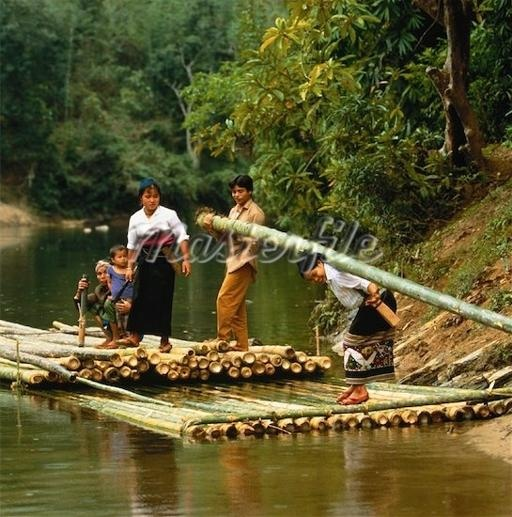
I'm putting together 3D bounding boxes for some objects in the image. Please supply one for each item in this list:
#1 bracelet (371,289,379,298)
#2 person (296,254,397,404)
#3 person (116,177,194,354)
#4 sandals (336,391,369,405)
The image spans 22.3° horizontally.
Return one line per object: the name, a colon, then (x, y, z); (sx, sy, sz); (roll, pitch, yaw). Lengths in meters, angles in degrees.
bracelet: (1.130, 0.338, 12.388); (0.084, 0.101, 0.061); (-4, 2, 6)
person: (0.934, 0.703, 12.701); (0.876, 1.582, 0.538); (-1, 13, 5)
person: (-1.141, 0.112, 14.600); (0.853, 1.990, 0.480); (-1, 13, 4)
sandals: (0.962, 1.411, 12.960); (0.303, 0.212, 0.114); (3, -12, 14)
